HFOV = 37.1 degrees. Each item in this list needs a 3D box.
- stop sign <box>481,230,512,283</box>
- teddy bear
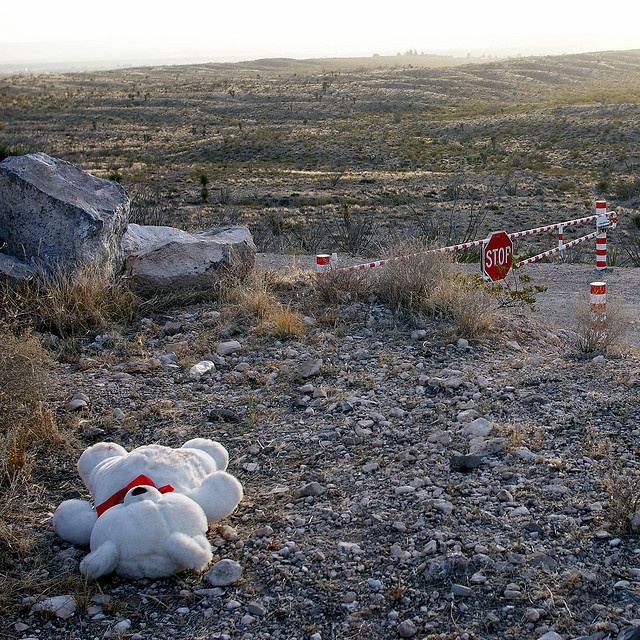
[{"bbox_3d":[1.970,-0.703,10.568,0.058,0.535,0.608,10,16,43],"label":"stop sign"},{"bbox_3d":[-1.049,1.108,5.996,1.212,0.386,1.322,5,17,-23],"label":"teddy bear"}]
